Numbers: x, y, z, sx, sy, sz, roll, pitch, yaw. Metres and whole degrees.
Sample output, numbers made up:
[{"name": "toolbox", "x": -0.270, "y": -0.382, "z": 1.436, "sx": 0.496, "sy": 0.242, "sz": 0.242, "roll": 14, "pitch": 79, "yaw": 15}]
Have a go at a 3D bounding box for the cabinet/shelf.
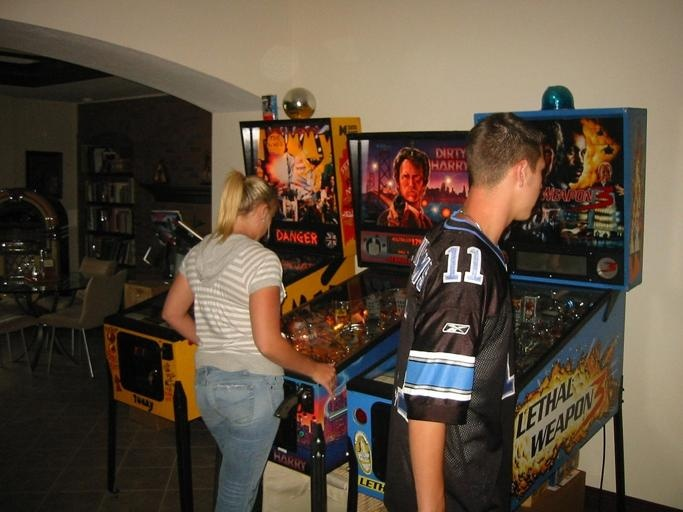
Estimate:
[{"name": "cabinet/shelf", "x": -3.330, "y": -0.786, "z": 8.296, "sx": 0.564, "sy": 1.921, "sz": 2.132, "roll": -4, "pitch": 11, "yaw": -34}]
